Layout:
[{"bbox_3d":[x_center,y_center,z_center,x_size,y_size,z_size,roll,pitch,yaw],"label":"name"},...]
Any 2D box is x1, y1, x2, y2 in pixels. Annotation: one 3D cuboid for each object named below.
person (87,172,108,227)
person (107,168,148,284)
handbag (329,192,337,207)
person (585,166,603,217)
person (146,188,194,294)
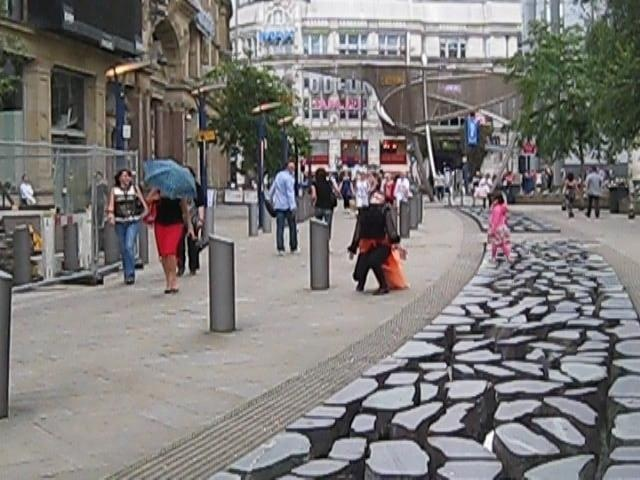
[{"bbox_3d":[-4.017,-0.720,15.642,0.205,1.040,0.636,-1,6,6],"label":"person"},{"bbox_3d":[-3.302,-0.224,14.731,0.606,1.905,0.743,-3,5,-14],"label":"person"},{"bbox_3d":[0.287,-0.915,19.840,0.110,0.301,0.180,3,4,5],"label":"handbag"},{"bbox_3d":[9.750,-1.750,30.788,0.437,1.893,0.531,0,9,17],"label":"person"},{"bbox_3d":[-2.359,-0.259,13.616,0.585,2.260,0.660,0,-26,-9],"label":"person"}]
